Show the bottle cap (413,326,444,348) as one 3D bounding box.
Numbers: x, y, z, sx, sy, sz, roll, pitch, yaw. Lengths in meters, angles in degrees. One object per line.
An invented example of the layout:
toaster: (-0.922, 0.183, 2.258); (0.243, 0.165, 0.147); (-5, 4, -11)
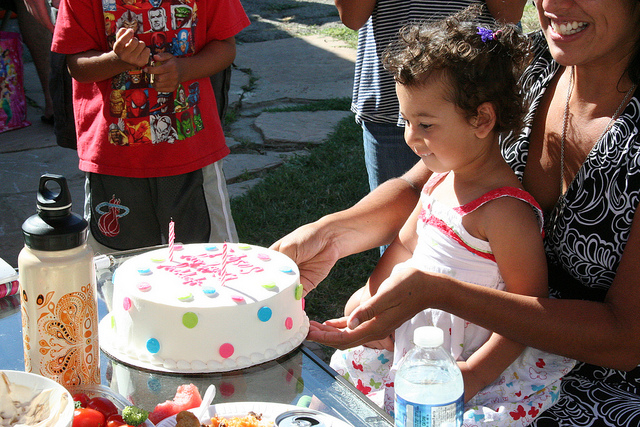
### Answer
bottle cap: (0.348, 0.396, 2.084); (0.091, 0.062, 0.075); (2, 29, 5)

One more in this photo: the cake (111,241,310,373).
cake: (-0.489, 0.272, 2.618); (0.844, 0.427, 0.698); (-12, 19, -25)

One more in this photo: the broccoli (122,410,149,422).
broccoli: (-0.560, 0.595, 1.924); (0.041, 0.020, 0.039); (2, 2, -4)

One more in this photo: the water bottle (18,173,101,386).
water bottle: (-0.805, 0.250, 1.986); (0.227, 0.712, 0.218); (3, 14, -1)
